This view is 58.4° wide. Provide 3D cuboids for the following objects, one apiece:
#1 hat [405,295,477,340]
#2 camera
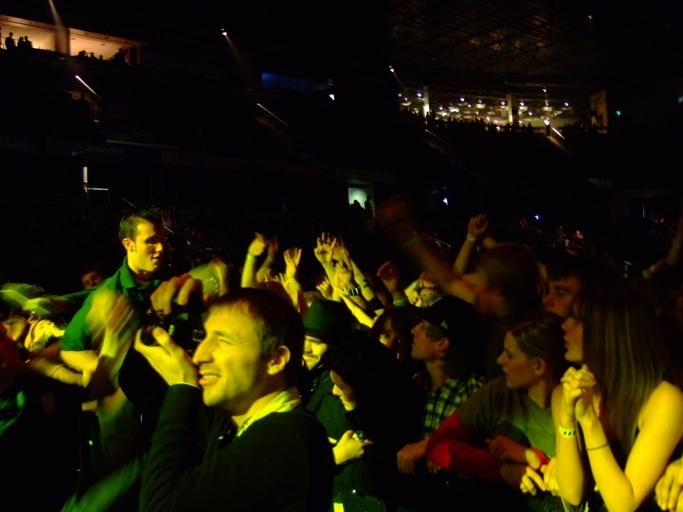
[{"bbox_3d":[0.776,0.476,4.524,0.409,0.218,0.257,29,10,5],"label":"hat"},{"bbox_3d":[-1.169,0.405,4.142,0.485,0.368,0.209,-33,-17,16],"label":"camera"}]
